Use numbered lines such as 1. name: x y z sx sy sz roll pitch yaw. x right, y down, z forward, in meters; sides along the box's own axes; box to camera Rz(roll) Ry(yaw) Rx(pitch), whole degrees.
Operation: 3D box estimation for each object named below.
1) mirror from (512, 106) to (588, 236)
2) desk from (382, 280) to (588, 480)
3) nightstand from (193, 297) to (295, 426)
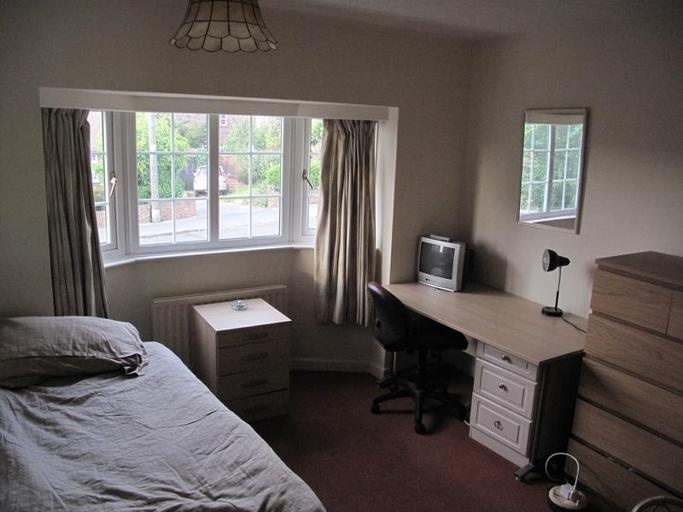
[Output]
1. mirror: 1.568 -0.641 4.049 0.103 0.874 0.560 -7 14 -28
2. desk: 1.176 0.882 3.989 0.735 0.977 1.176 -9 15 -37
3. nightstand: -0.774 0.793 4.409 0.801 1.117 0.813 -7 15 -31
